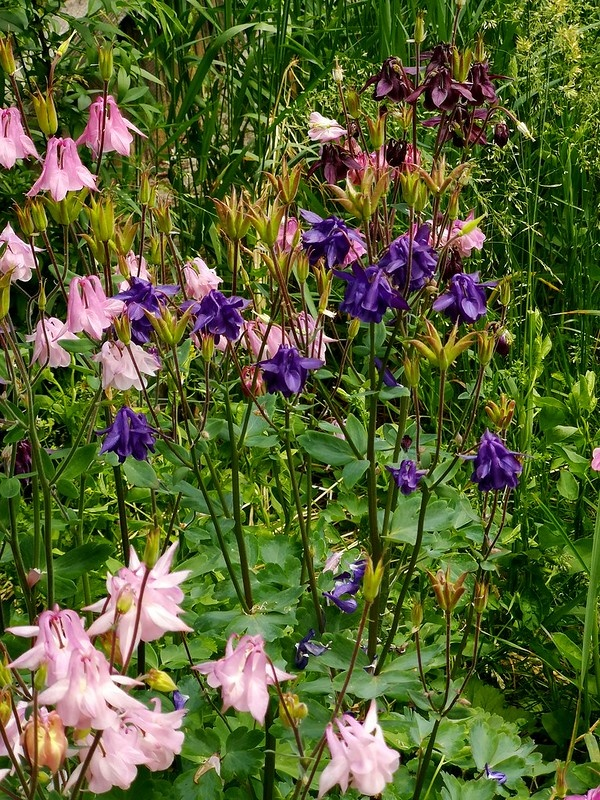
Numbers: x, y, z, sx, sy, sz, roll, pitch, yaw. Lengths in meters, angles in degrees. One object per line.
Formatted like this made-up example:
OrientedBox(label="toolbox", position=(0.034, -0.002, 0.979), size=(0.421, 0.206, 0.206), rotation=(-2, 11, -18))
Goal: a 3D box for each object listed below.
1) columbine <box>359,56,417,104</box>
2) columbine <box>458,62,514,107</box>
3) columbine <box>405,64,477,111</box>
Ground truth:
OrientedBox(label="columbine", position=(0.174, -0.598, 1.850), size=(0.098, 0.088, 0.108), rotation=(15, 34, 29))
OrientedBox(label="columbine", position=(0.356, -0.588, 1.813), size=(0.086, 0.087, 0.101), rotation=(-3, 8, 10))
OrientedBox(label="columbine", position=(0.260, -0.569, 1.745), size=(0.074, 0.061, 0.089), rotation=(-7, 26, 2))
